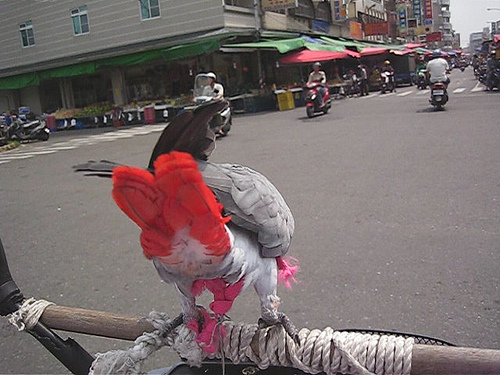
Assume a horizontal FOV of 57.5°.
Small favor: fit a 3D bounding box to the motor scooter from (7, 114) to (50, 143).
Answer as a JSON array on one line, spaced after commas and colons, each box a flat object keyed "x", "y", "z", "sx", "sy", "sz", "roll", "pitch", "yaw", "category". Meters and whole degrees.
[{"x": -8.656, "y": -2.221, "z": 17.896, "sx": 0.891, "sy": 1.264, "sz": 1.111, "roll": 3, "pitch": 19, "yaw": 8, "category": "motor scooter"}]

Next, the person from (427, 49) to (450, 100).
[{"x": 6.095, "y": -3.592, "z": 14.844, "sx": 0.650, "sy": 1.659, "sz": 2.224, "roll": 2, "pitch": 17, "yaw": 23, "category": "person"}]

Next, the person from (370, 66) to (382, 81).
[{"x": 8.540, "y": -7.742, "z": 31.296, "sx": 0.877, "sy": 0.649, "sz": 1.406, "roll": -2, "pitch": 29, "yaw": -3, "category": "person"}]

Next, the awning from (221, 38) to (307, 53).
[{"x": 0.919, "y": -6.387, "z": 20.757, "sx": 3.553, "sy": 0.519, "sz": 1.897, "roll": -7, "pitch": 17, "yaw": -8, "category": "awning"}]

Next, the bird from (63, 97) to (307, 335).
[{"x": -0.163, "y": 0.201, "z": 2.032, "sx": 0.448, "sy": 1.153, "sz": 0.818, "roll": 3, "pitch": 16, "yaw": 27, "category": "bird"}]

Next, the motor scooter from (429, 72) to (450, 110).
[{"x": 5.836, "y": -2.823, "z": 14.144, "sx": 0.454, "sy": 0.869, "sz": 0.689, "roll": 3, "pitch": 16, "yaw": 24, "category": "motor scooter"}]

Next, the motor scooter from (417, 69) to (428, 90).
[{"x": 9.899, "y": -6.177, "z": 26.291, "sx": 0.532, "sy": 1.118, "sz": 1.354, "roll": 2, "pitch": 16, "yaw": 21, "category": "motor scooter"}]

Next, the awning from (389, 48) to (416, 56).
[{"x": 11.069, "y": -9.978, "z": 33.644, "sx": 1.521, "sy": 0.523, "sz": 2.310, "roll": 5, "pitch": 23, "yaw": 20, "category": "awning"}]
